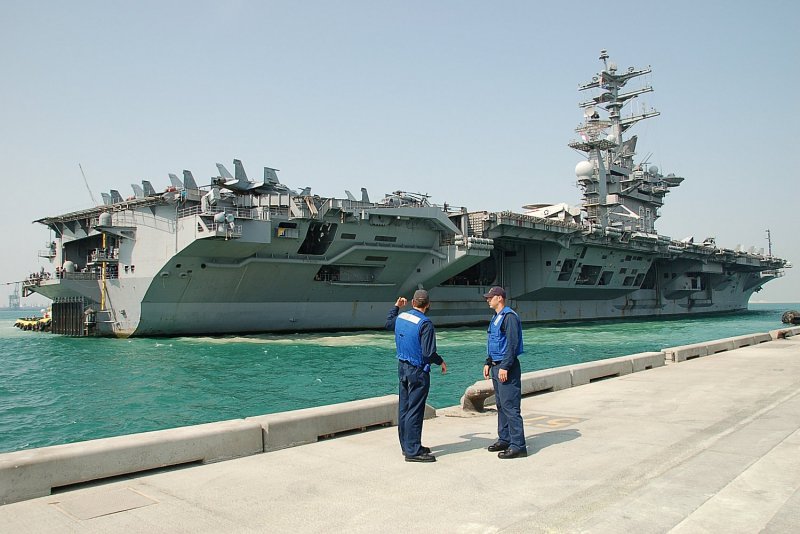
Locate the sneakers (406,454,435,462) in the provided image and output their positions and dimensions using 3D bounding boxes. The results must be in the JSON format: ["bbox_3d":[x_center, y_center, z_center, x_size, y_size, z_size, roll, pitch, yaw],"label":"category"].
[{"bbox_3d":[0.234,2.259,8.122,0.269,0.058,0.121,-1,-4,0],"label":"sneakers"}]

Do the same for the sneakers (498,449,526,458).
[{"bbox_3d":[1.353,2.240,8.212,0.357,0.083,0.107,2,-7,-1],"label":"sneakers"}]

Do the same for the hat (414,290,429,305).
[{"bbox_3d":[0.248,0.381,8.525,0.225,0.157,0.203,2,2,-1],"label":"hat"}]
